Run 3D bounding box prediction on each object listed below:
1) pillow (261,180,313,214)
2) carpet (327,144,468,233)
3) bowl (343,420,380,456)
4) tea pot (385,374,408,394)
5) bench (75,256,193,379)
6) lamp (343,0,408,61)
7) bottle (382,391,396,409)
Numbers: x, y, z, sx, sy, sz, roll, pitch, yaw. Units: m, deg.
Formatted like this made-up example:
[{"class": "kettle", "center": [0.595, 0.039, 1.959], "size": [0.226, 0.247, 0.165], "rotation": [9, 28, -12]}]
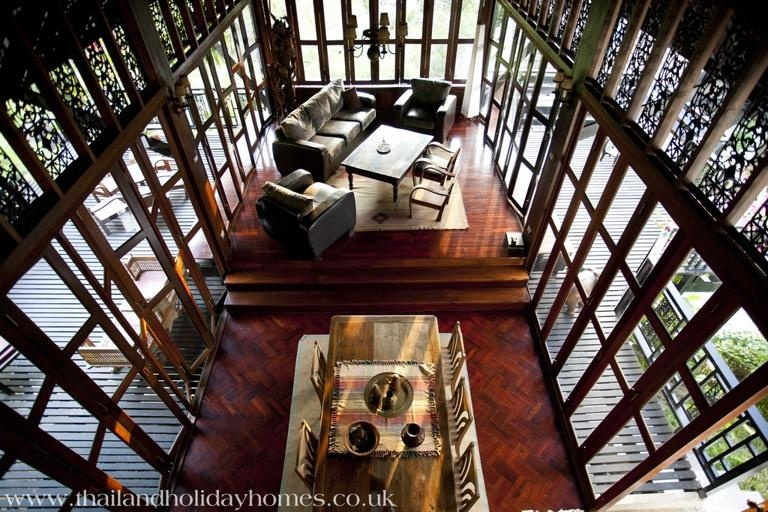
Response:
[{"class": "pillow", "center": [-1.471, -0.915, 7.529], "size": [0.849, 0.224, 0.242], "rotation": [26, 49, 20]}, {"class": "carpet", "center": [0.424, -1.015, 8.843], "size": [1.850, 0.478, 1.851], "rotation": [4, 43, 11]}, {"class": "bowl", "center": [-0.245, 2.045, 5.633], "size": [0.333, 0.144, 0.356], "rotation": [0, 75, 1]}, {"class": "tea pot", "center": [0.139, 1.519, 5.895], "size": [0.203, 0.229, 0.233], "rotation": [5, 58, 3]}, {"class": "bench", "center": [-3.031, 0.666, 6.224], "size": [0.738, 0.361, 1.344], "rotation": [3, 61, -4]}, {"class": "lamp", "center": [-0.166, -4.239, 9.790], "size": [1.310, 0.908, 1.380], "rotation": [-6, 64, -3]}, {"class": "bottle", "center": [0.064, 1.670, 5.889], "size": [0.138, 0.198, 0.196], "rotation": [4, 41, 2]}]
